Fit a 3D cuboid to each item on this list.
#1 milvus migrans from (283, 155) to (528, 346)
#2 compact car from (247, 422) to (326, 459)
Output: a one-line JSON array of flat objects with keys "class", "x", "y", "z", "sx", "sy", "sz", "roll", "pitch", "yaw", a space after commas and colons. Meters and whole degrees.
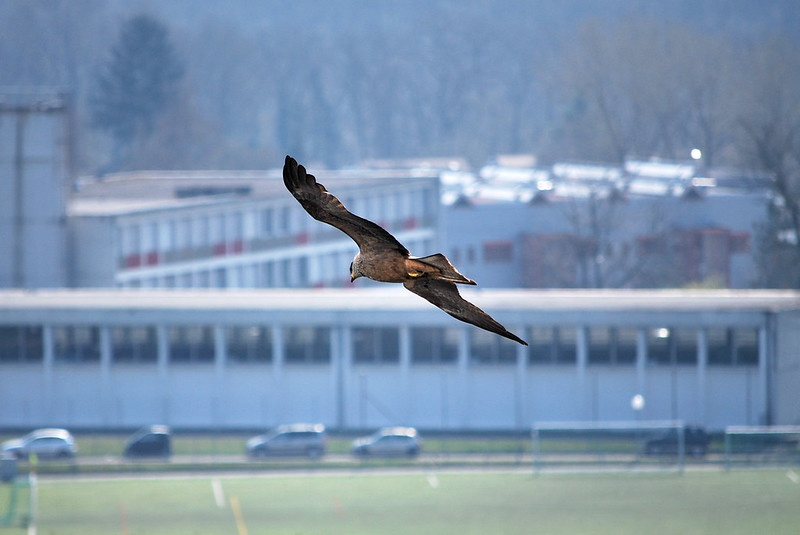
[{"class": "milvus migrans", "x": 0.197, "y": -0.032, "z": 29.351, "sx": 1.798, "sy": 3.985, "sz": 0.614, "roll": -32, "pitch": -28, "yaw": -43}, {"class": "compact car", "x": -1.775, "y": 2.682, "z": 34.595, "sx": 1.360, "sy": 0.426, "sz": 0.632, "roll": 2, "pitch": 13, "yaw": -23}]
